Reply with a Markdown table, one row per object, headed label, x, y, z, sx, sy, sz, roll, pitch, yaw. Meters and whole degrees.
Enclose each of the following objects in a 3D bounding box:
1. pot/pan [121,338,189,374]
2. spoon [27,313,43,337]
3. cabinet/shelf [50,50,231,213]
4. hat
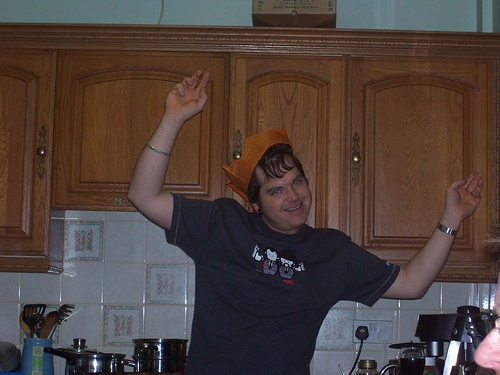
| label | x | y | z | sx | sy | sz | roll | pitch | yaw |
| --- | --- | --- | --- | --- | --- | --- | --- | --- | --- |
| pot/pan | -0.441 | 0.794 | 3.266 | 0.223 | 0.190 | 0.186 | 2 | -9 | -13 |
| spoon | -1.052 | 0.679 | 3.305 | 0.079 | 0.115 | 0.029 | 2 | -6 | -21 |
| cabinet/shelf | -0.534 | -0.240 | 3.168 | 0.662 | 0.723 | 0.254 | 0 | -1 | 0 |
| hat | 0.048 | -0.081 | 2.812 | 0.258 | 0.250 | 0.318 | -9 | 15 | 43 |
